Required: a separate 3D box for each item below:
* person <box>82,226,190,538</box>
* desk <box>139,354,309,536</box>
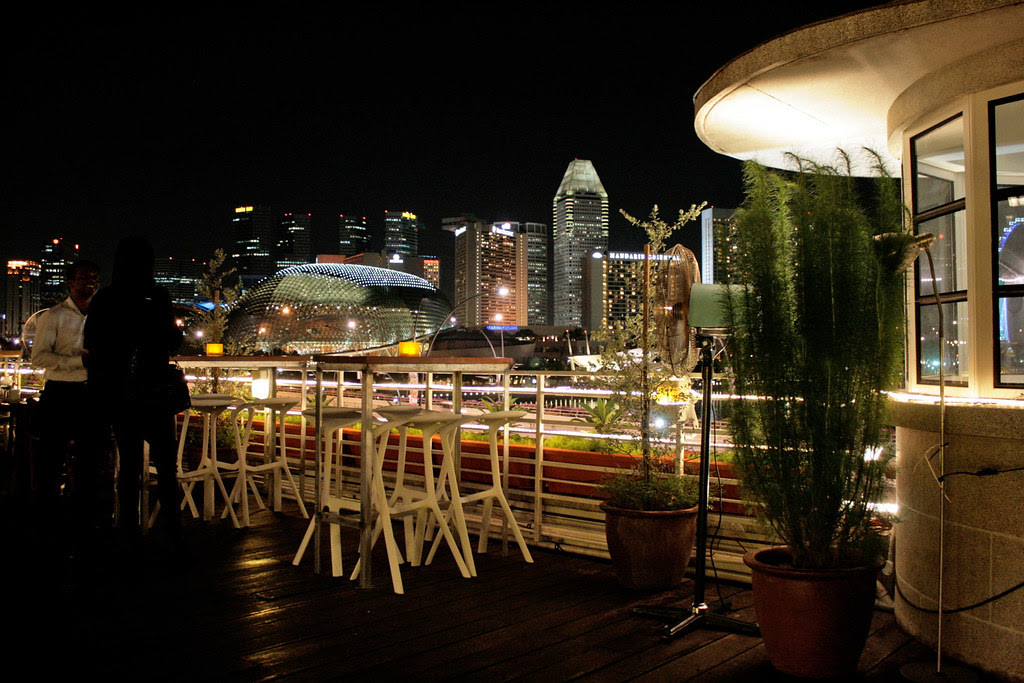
[{"bbox_3d":[-3.299,0.424,7.333,0.819,2.650,0.366,-1,5,-28],"label":"person"},{"bbox_3d":[-3.647,1.353,11.060,2.596,2.348,2.156,1,-3,-33],"label":"desk"}]
